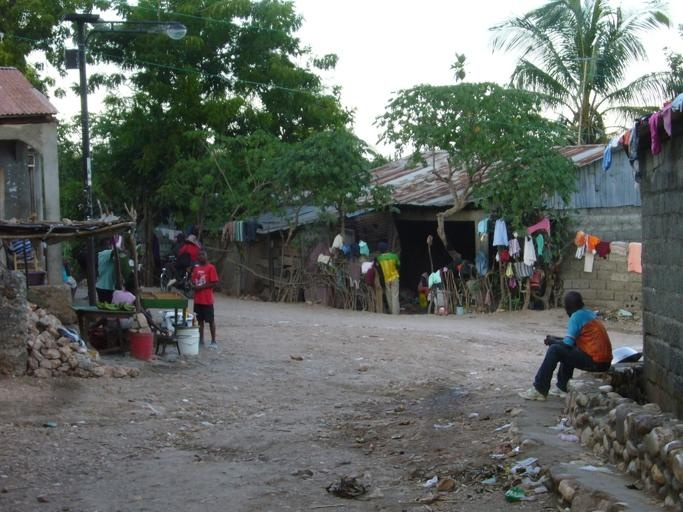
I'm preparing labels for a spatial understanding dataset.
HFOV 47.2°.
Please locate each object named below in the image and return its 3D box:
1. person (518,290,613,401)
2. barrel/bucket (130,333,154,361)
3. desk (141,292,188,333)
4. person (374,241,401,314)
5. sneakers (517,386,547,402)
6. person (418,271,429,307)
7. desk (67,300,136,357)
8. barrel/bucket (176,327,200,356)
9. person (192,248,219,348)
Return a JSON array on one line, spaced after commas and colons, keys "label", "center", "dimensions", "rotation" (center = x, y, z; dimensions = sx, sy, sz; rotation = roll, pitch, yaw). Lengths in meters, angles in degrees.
[{"label": "person", "center": [3.205, 1.272, 10.919], "dimensions": [1.090, 1.509, 0.537], "rotation": [-1, -1, 19]}, {"label": "barrel/bucket", "center": [-3.625, 1.646, 14.130], "dimensions": [0.422, 0.499, 0.442], "rotation": [1, 1, 0]}, {"label": "desk", "center": [-3.486, 1.109, 15.138], "dimensions": [1.128, 0.695, 0.840], "rotation": [5, -2, -23]}, {"label": "person", "center": [1.338, 0.820, 21.907], "dimensions": [0.619, 1.671, 0.866], "rotation": [-1, -1, 17]}, {"label": "sneakers", "center": [2.725, 1.986, 11.133], "dimensions": [0.353, 0.210, 0.150], "rotation": [6, 6, 39]}, {"label": "person", "center": [2.472, 1.025, 23.115], "dimensions": [0.361, 0.972, 0.286], "rotation": [5, -10, -18]}, {"label": "desk", "center": [-4.556, 1.358, 14.789], "dimensions": [1.185, 1.158, 1.466], "rotation": [10, 9, -14]}, {"label": "barrel/bucket", "center": [-2.829, 1.594, 14.555], "dimensions": [0.454, 0.495, 0.437], "rotation": [-2, 4, 0]}, {"label": "person", "center": [-2.714, 0.858, 15.380], "dimensions": [0.488, 1.818, 1.294], "rotation": [0, -2, -10]}]
